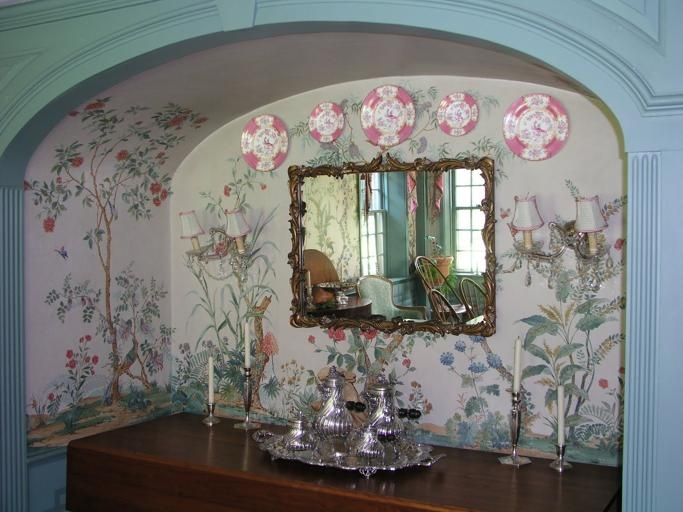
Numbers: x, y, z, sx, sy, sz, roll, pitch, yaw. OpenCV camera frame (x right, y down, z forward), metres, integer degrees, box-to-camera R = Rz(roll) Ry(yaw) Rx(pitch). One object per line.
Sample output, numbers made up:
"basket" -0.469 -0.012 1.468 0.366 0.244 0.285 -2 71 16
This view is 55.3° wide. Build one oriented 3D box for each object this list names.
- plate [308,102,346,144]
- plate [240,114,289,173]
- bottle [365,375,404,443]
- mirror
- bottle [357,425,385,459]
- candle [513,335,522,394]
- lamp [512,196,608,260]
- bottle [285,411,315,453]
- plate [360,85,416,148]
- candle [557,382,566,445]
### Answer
"plate" -0.095 -0.733 3.639 0.199 0.219 0.034 8 9 29
"plate" -0.474 -0.639 3.751 0.286 0.314 0.040 9 10 30
"bottle" 0.204 0.753 3.142 0.226 0.359 0.234 -2 -9 0
"mirror" 0.310 -0.057 3.463 0.932 0.861 0.057 0 -1 20
"bottle" 0.142 0.892 3.129 0.127 0.130 0.134 -1 -7 14
"candle" 0.853 0.526 3.160 0.038 0.294 0.279 1 11 16
"lamp" 1.081 -0.120 3.169 0.455 0.365 0.268 2 -20 -4
"bottle" -0.210 0.867 3.215 0.135 0.162 0.142 1 2 24
"plate" 0.246 -0.749 3.492 0.288 0.319 0.041 2 -1 23
"candle" 1.029 0.740 3.061 0.033 0.277 0.120 1 11 20
